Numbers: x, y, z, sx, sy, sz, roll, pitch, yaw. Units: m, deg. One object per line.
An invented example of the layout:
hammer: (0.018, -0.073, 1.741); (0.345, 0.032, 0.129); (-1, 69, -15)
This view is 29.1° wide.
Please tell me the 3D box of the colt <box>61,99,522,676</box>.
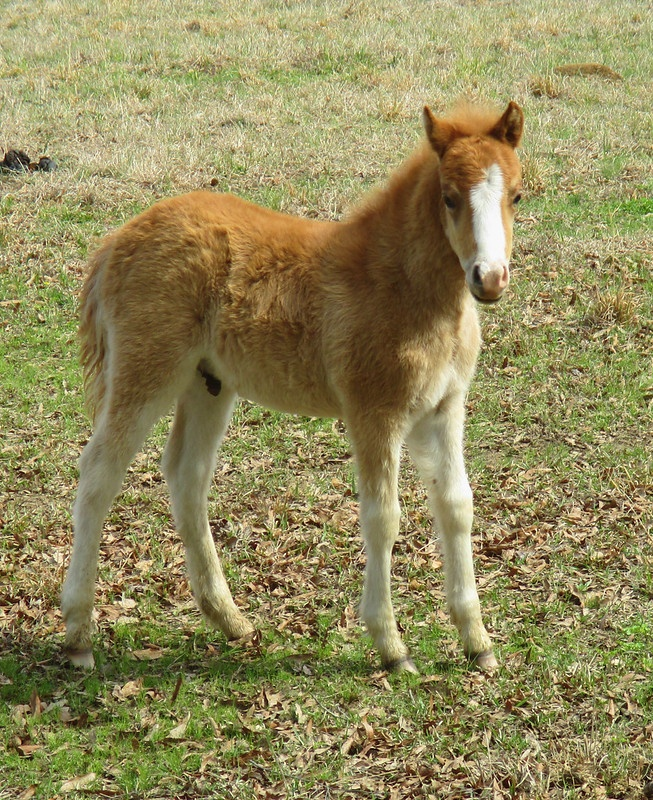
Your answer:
colt: (-0.053, -0.053, 6.499); (3.142, 2.923, 1.051); (4, 3, 36)
